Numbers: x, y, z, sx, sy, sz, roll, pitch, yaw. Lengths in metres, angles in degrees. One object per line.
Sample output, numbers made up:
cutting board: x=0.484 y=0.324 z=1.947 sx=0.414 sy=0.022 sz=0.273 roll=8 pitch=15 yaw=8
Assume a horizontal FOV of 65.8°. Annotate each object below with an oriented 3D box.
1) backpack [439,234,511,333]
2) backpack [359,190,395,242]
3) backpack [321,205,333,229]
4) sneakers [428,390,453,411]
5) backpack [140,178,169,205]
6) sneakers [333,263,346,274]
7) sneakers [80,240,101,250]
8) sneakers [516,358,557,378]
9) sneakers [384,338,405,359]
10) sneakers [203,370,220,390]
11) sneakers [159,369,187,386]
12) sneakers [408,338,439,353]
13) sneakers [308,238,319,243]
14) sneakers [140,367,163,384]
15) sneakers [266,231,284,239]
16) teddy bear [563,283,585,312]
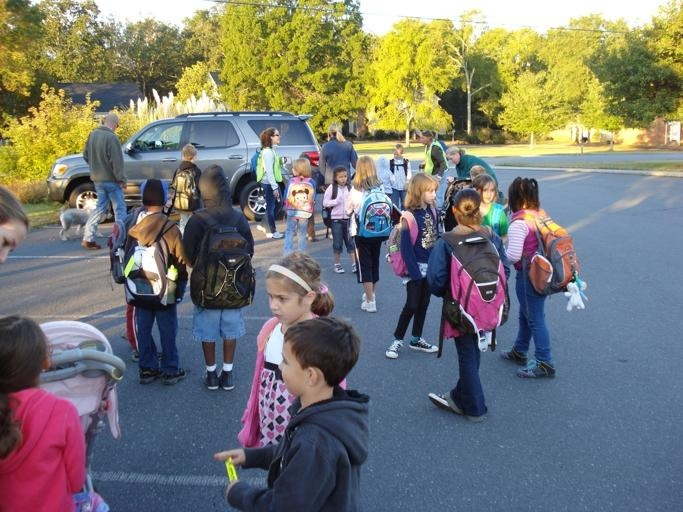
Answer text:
backpack: x=1.167 y=0.227 z=4.628 sx=0.539 sy=0.877 sz=0.256 roll=-1 pitch=13 yaw=0
backpack: x=0.450 y=-0.544 z=6.890 sx=0.385 sy=0.626 sz=0.586 roll=1 pitch=7 yaw=-3
backpack: x=-0.269 y=-0.724 z=9.451 sx=0.219 sy=0.524 sz=0.336 roll=0 pitch=17 yaw=4
sneakers: x=0.937 y=1.351 z=4.962 sx=0.110 sy=0.105 sz=0.285 roll=-12 pitch=23 yaw=-13
backpack: x=-1.855 y=-0.589 z=5.228 sx=0.188 sy=0.309 sz=0.297 roll=5 pitch=-31 yaw=-16
sneakers: x=-0.038 y=0.203 z=9.315 sx=0.091 sy=0.150 sz=0.285 roll=-3 pitch=2 yaw=-21
sneakers: x=-5.194 y=-0.242 z=10.826 sx=0.403 sy=0.204 sz=0.158 roll=-3 pitch=20 yaw=-37
sneakers: x=2.064 y=1.188 z=5.628 sx=0.431 sy=0.229 sz=0.180 roll=3 pitch=15 yaw=10
sneakers: x=0.594 y=1.055 z=6.041 sx=0.104 sy=0.131 sz=0.294 roll=6 pitch=7 yaw=13
sneakers: x=-1.315 y=1.239 z=5.322 sx=0.085 sy=0.170 sz=0.225 roll=0 pitch=12 yaw=-4
sneakers: x=-1.776 y=1.240 z=5.517 sx=0.111 sy=0.144 sz=0.269 roll=14 pitch=22 yaw=37
sneakers: x=0.974 y=1.009 z=6.227 sx=0.348 sy=0.183 sz=0.147 roll=1 pitch=18 yaw=11
sneakers: x=-0.620 y=-0.384 z=11.581 sx=0.193 sy=0.080 sz=0.147 roll=-6 pitch=-24 yaw=-9
sneakers: x=-2.013 y=1.223 z=5.576 sx=0.095 sy=0.128 sz=0.268 roll=6 pitch=11 yaw=25
sneakers: x=-1.513 y=-0.494 z=11.843 sx=0.409 sy=0.219 sz=0.170 roll=1 pitch=10 yaw=8
teddy bear: x=2.582 y=0.441 z=5.814 sx=0.128 sy=0.450 sz=0.288 roll=11 pitch=12 yaw=41
